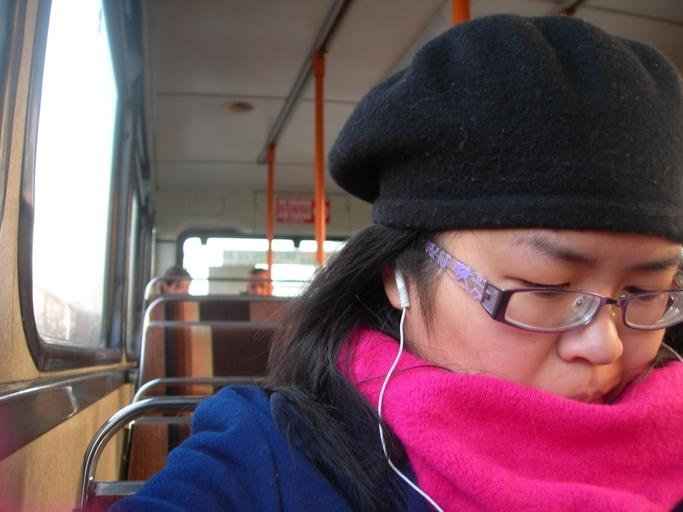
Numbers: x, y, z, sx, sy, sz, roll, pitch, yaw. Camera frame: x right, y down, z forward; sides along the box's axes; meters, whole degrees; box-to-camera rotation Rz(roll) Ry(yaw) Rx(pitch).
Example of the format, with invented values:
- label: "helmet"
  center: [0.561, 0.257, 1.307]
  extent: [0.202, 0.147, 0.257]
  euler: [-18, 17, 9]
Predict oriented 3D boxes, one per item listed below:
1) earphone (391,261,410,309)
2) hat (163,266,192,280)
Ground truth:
- label: "earphone"
  center: [0.130, 0.055, 1.233]
  extent: [0.021, 0.100, 0.023]
  euler: [-7, -15, 11]
- label: "hat"
  center: [-1.816, 0.170, 6.477]
  extent: [0.117, 0.160, 0.149]
  euler: [5, -5, -42]
